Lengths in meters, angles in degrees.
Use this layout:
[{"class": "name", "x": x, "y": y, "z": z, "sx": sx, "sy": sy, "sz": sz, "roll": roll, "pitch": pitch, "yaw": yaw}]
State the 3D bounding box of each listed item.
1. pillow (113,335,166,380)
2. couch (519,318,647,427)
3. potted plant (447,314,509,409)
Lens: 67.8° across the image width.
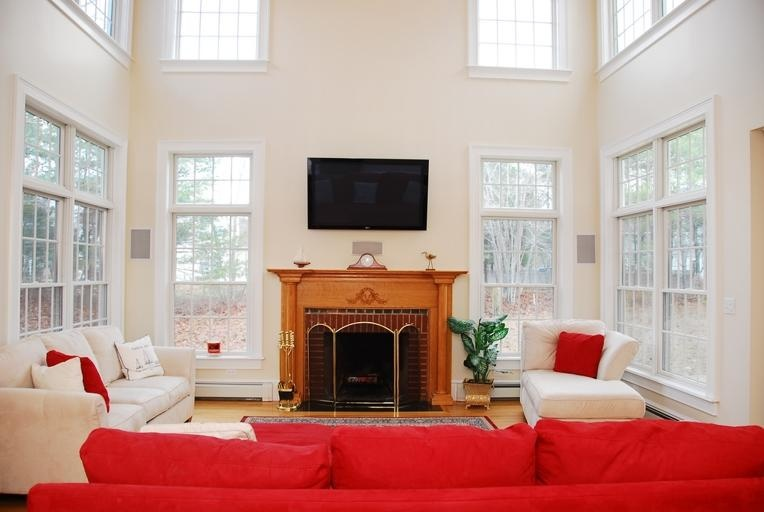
[{"class": "pillow", "x": -2.468, "y": 1.032, "z": 5.760, "sx": 0.111, "sy": 0.375, "sz": 0.375, "roll": -26, "pitch": -7, "yaw": 23}, {"class": "couch", "x": 2.022, "y": 1.188, "z": 5.816, "sx": 1.114, "sy": 1.026, "sz": 1.054, "roll": -1, "pitch": -3, "yaw": 8}, {"class": "potted plant", "x": 1.115, "y": 1.213, "z": 6.560, "sx": 0.678, "sy": 1.051, "sz": 0.754, "roll": -4, "pitch": -9, "yaw": 44}]
